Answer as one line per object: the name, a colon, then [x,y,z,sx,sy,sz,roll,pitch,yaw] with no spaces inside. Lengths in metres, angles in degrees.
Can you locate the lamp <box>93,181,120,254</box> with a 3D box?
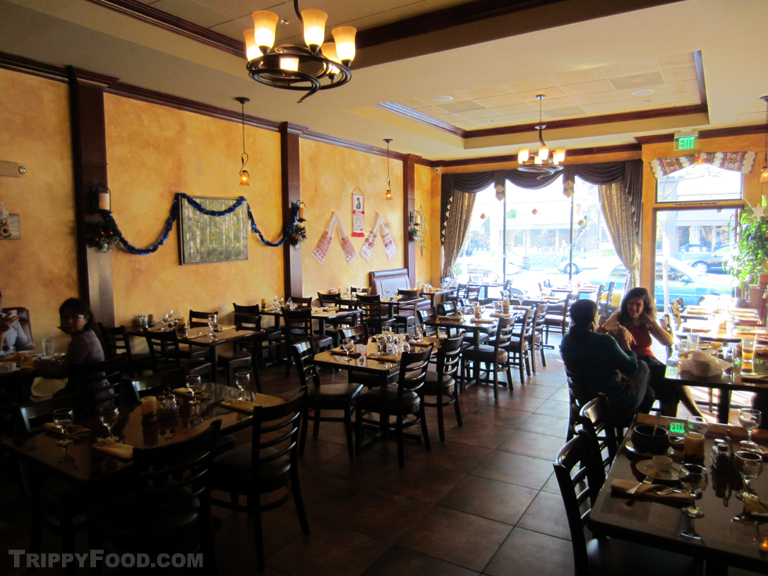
lamp: [-3.500,-0.875,7.230,0.186,0.800,0.378,3,14,15]

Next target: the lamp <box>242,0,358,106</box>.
lamp: [-0.860,-2.302,5.460,0.914,1.082,1.784,-4,14,-13]

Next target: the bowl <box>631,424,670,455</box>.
bowl: [1.863,1.060,4.056,0.190,0.147,0.205,2,9,0]

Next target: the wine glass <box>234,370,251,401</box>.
wine glass: [-1.197,0.803,4.880,0.108,0.262,0.414,-4,14,-13]

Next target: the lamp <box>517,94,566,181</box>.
lamp: [2.642,-2.671,9.670,0.826,1.294,0.825,-4,4,-26]

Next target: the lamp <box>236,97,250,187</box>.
lamp: [-2.153,-2.224,8.739,0.209,1.166,0.809,-5,15,-16]
